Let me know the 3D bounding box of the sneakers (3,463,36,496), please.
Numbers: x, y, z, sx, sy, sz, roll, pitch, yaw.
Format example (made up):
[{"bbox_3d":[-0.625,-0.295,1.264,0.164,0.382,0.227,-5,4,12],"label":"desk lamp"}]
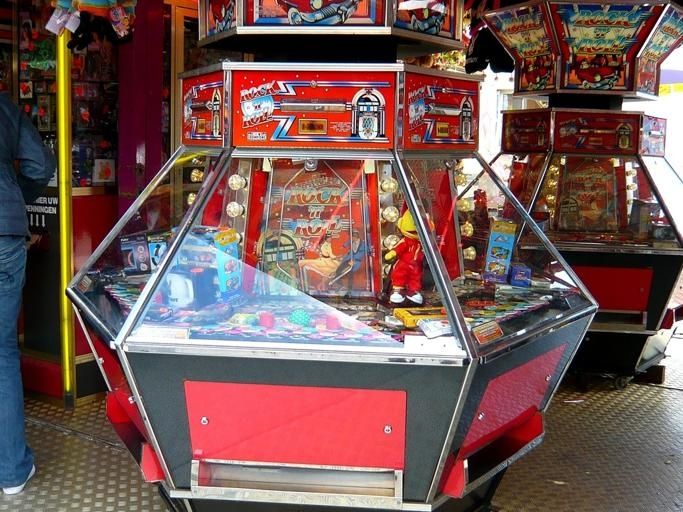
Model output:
[{"bbox_3d":[-1.634,1.154,2.925,0.059,0.075,0.177,27,44,-12],"label":"sneakers"}]
